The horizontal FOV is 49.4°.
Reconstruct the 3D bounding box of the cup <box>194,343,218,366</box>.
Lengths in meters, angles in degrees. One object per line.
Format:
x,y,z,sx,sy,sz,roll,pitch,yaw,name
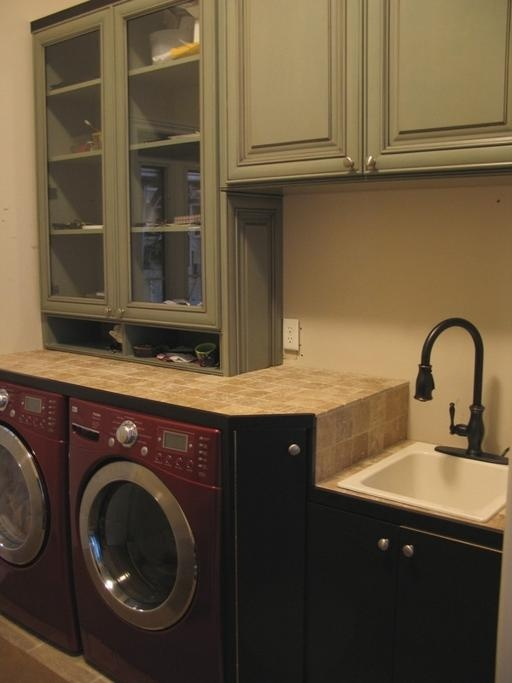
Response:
-0.176,0.032,2.026,0.071,0.062,0.081,-7,22,-10,cup

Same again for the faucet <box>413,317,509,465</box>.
0.568,0.136,1.522,0.254,0.403,0.432,3,4,16,faucet

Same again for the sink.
0.430,0.394,1.489,0.319,0.161,0.387,8,12,40,sink

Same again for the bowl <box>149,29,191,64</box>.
-0.286,-0.999,1.932,0.124,0.115,0.104,5,9,39,bowl

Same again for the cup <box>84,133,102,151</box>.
-0.638,-0.786,2.205,0.086,0.087,0.054,13,15,43,cup
